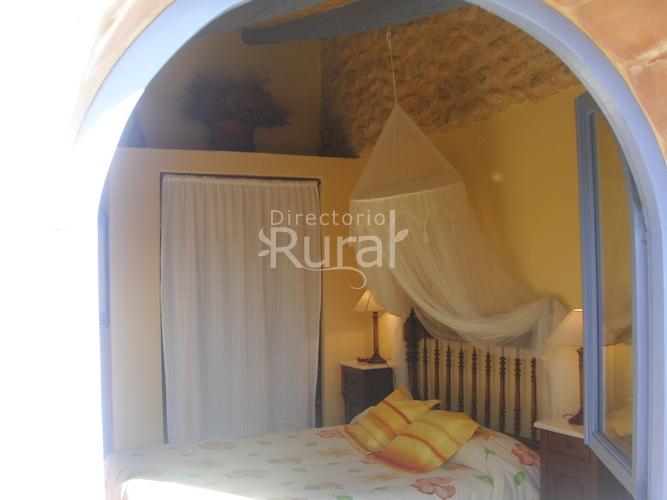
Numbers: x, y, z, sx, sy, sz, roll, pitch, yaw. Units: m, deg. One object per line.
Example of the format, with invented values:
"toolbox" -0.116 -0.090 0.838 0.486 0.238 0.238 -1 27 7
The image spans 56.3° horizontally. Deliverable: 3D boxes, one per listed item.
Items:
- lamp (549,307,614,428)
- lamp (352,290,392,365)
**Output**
"lamp" 1.342 0.646 3.371 0.292 0.581 0.303 3 -13 2
"lamp" 0.365 0.664 5.450 0.356 0.620 0.358 -11 -12 31
